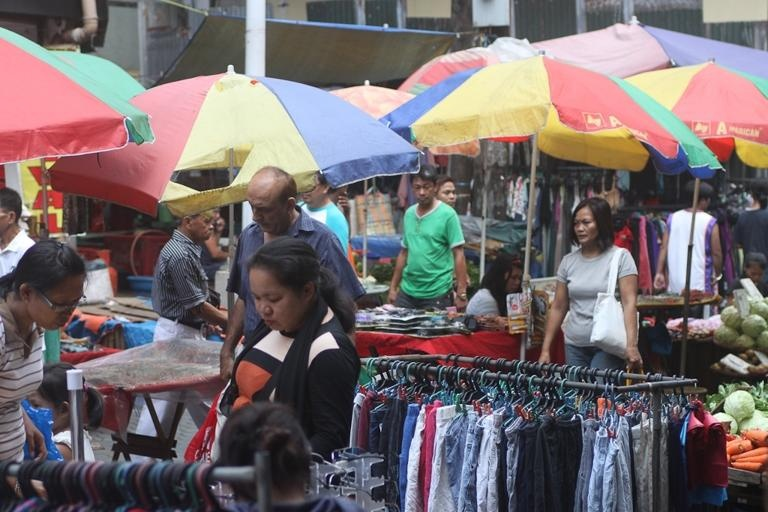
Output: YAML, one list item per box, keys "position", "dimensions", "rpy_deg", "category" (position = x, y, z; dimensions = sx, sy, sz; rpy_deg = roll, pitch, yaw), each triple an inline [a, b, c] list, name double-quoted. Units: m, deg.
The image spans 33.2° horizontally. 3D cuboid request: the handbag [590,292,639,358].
- position: [2.389, 0.728, 13.293]
  dimensions: [0.347, 0.664, 0.417]
  rpy_deg: [-3, 0, -3]
  category: "handbag"
